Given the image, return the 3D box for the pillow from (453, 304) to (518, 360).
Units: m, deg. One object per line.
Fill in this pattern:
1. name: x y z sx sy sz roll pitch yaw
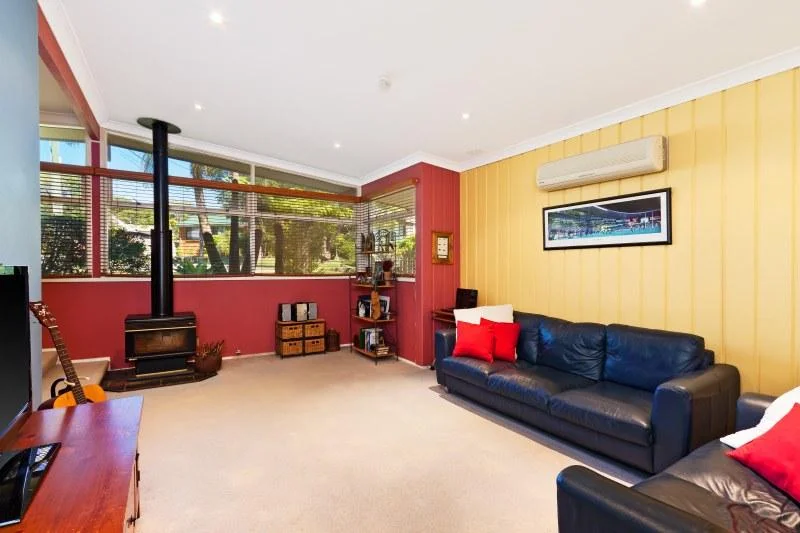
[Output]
1. pillow: 1.027 0.784 5.803 0.625 0.587 0.186 -1 -34 20

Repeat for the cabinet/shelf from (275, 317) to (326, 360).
1. cabinet/shelf: -1.515 1.042 7.464 0.848 0.617 0.485 1 -2 -35

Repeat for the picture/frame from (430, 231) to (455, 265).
1. picture/frame: 0.576 -0.256 6.911 0.500 0.562 0.058 1 0 -37

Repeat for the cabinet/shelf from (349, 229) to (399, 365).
1. cabinet/shelf: -0.430 0.389 7.538 0.565 1.879 1.113 -2 2 -21

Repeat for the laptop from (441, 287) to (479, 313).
1. laptop: 0.855 0.446 6.770 0.300 0.305 0.462 5 -6 -19

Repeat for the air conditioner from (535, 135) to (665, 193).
1. air conditioner: 2.168 -1.094 5.530 0.340 0.415 1.385 -11 4 -39
